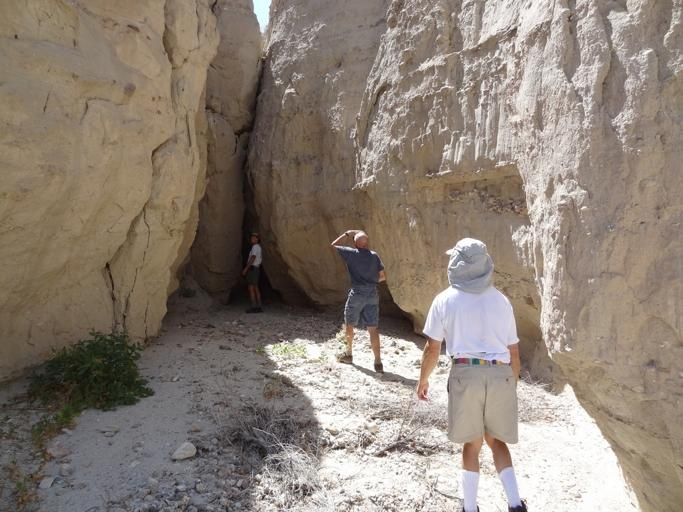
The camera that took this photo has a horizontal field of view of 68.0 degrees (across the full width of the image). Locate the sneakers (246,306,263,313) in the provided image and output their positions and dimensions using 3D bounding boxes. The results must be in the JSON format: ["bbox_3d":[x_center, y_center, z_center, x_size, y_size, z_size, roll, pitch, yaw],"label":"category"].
[{"bbox_3d":[-1.474,0.900,8.627,0.293,0.128,0.107,2,1,31],"label":"sneakers"}]

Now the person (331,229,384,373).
[{"bbox_3d":[0.201,0.451,6.196,0.655,1.517,1.531,3,4,2],"label":"person"}]

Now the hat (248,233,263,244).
[{"bbox_3d":[-1.505,-0.307,8.898,0.210,0.317,0.202,4,-3,-17],"label":"hat"}]

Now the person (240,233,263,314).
[{"bbox_3d":[-1.560,0.263,9.062,0.322,1.306,1.315,2,4,-9],"label":"person"}]

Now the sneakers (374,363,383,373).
[{"bbox_3d":[0.415,1.220,5.534,0.105,0.105,0.114,3,4,0],"label":"sneakers"}]
